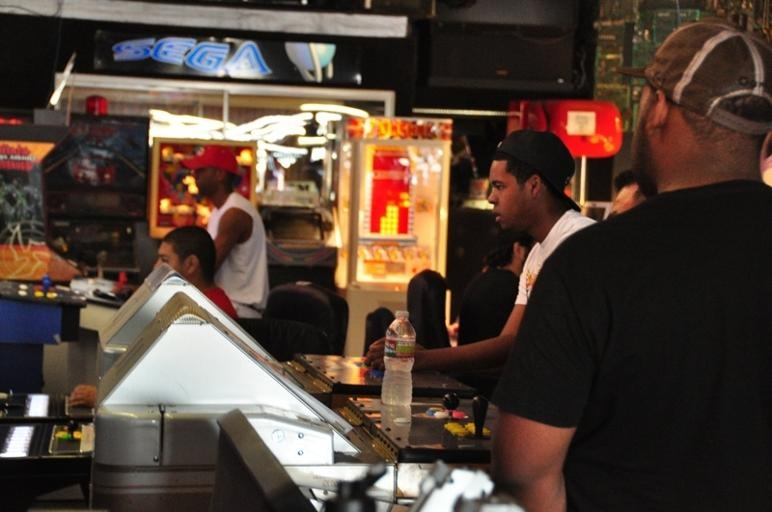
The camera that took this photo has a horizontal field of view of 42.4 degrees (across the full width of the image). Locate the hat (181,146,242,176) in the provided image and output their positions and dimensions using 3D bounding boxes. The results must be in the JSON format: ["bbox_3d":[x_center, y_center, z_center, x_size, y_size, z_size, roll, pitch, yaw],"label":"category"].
[{"bbox_3d":[-1.126,-0.614,6.459,0.317,0.156,0.208,2,2,-16],"label":"hat"}]

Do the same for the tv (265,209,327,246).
[{"bbox_3d":[-0.781,-0.259,8.431,0.427,0.169,0.316,3,-23,1],"label":"tv"}]
